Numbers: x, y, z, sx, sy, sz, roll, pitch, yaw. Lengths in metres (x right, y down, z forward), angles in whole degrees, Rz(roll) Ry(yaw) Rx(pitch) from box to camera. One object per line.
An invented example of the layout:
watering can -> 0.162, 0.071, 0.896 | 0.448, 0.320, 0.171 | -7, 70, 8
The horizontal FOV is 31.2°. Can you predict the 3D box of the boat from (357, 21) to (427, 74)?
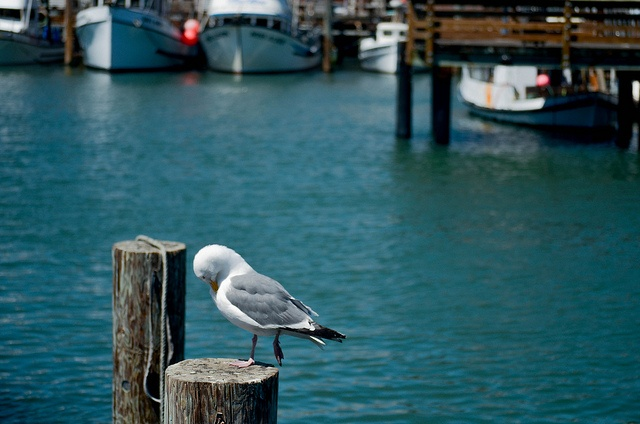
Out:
boat -> 2.844, -7.399, 52.202 | 0.816, 2.282, 3.130 | -4, 11, -22
